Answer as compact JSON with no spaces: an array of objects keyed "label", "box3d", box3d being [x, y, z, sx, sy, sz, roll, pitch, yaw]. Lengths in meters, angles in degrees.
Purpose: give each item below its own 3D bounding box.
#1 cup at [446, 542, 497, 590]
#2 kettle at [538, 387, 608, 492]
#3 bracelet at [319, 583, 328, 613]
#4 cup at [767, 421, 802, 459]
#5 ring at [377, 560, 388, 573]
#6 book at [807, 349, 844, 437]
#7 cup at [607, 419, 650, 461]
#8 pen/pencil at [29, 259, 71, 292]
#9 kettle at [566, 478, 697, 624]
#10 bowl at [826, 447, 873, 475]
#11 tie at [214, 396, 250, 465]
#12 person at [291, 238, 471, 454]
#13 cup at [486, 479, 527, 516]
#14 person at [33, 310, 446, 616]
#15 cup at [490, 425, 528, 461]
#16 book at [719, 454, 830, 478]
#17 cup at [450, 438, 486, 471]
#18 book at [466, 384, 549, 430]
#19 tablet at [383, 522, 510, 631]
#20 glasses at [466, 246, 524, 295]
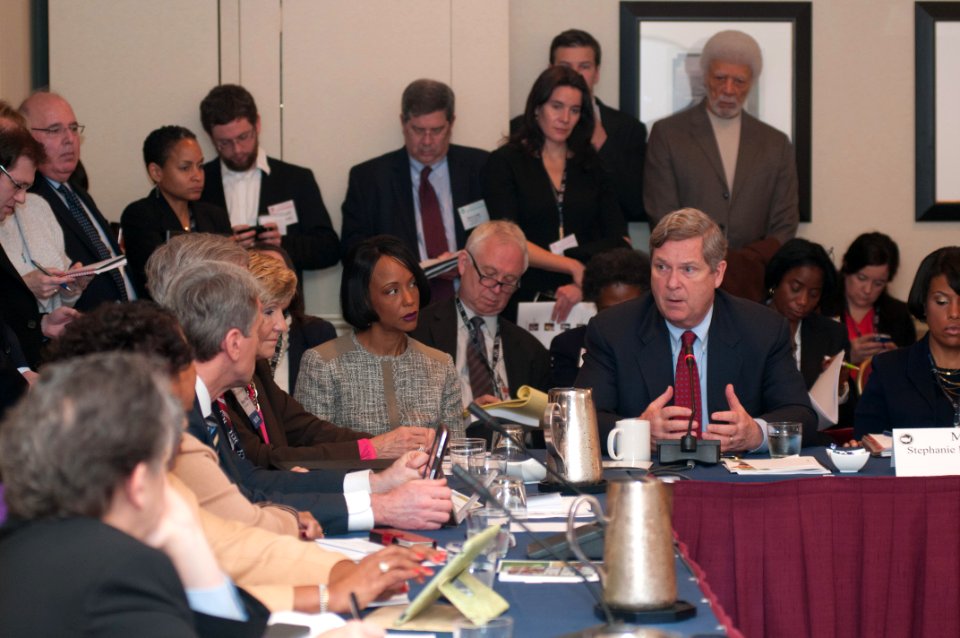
[{"label":"cup","box3d":[-0.007,0.613,2.183,0.119,0.139,0.138,0,-3,5]},{"label":"kettle","box3d":[0.308,0.403,2.920,0.187,0.325,0.316,0,4,20]},{"label":"bracelet","box3d":[-0.395,0.710,2.200,0.027,0.045,0.061,-6,11,-12]},{"label":"cup","box3d":[1.179,0.473,3.366,0.129,0.149,0.128,-1,-3,0]},{"label":"ring","box3d":[-0.244,0.622,2.176,0.022,0.023,0.005,7,-7,10]},{"label":"book","box3d":[1.517,0.294,3.799,0.156,0.217,0.304,-30,27,42]},{"label":"cup","box3d":[0.584,0.469,3.354,0.183,0.181,0.127,-4,11,-3]},{"label":"pen/pencil","box3d":[-2.017,-0.197,4.061,0.263,0.030,0.030,35,36,22]},{"label":"kettle","box3d":[0.356,0.529,2.173,0.407,0.396,0.283,-1,2,-7]},{"label":"bowl","box3d":[1.346,0.511,3.157,0.100,0.063,0.103,0,-4,0]},{"label":"tie","box3d":[-0.878,0.389,3.053,0.053,0.212,0.158,-31,14,5]},{"label":"person","box3d":[-0.475,0.156,4.320,0.966,1.586,0.471,4,-11,-28]},{"label":"cup","box3d":[0.085,0.549,2.737,0.112,0.110,0.115,2,1,0]},{"label":"person","box3d":[-0.510,0.372,2.393,1.079,0.645,0.551,4,4,1]},{"label":"cup","box3d":[0.105,0.471,3.247,0.157,0.153,0.161,1,-7,0]},{"label":"book","box3d":[1.095,0.541,3.216,0.370,0.046,0.300,-1,11,15]},{"label":"cup","box3d":[-0.042,0.466,2.993,0.096,0.110,0.097,1,4,0]},{"label":"book","box3d":[0.158,0.333,3.217,0.177,0.065,0.174,-19,-24,35]},{"label":"tablet","box3d":[-0.072,0.594,2.078,0.216,0.238,0.277,2,-4,20]},{"label":"glasses","box3d":[0.085,-0.241,4.705,0.215,0.060,0.209,16,20,-42]}]
